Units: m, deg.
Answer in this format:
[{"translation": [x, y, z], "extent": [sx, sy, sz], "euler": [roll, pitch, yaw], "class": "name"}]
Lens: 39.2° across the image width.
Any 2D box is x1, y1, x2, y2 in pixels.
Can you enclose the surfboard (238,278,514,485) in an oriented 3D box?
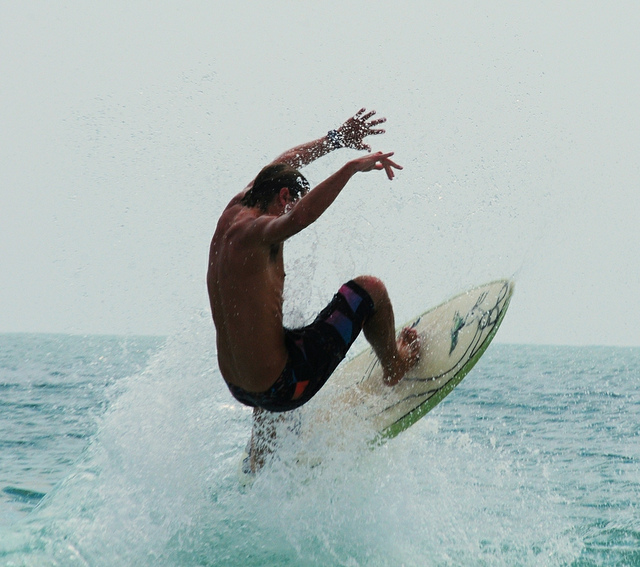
[{"translation": [0.821, 0.992, 9.908], "extent": [2.835, 1.045, 0.961], "euler": [-23, 50, -22], "class": "surfboard"}]
